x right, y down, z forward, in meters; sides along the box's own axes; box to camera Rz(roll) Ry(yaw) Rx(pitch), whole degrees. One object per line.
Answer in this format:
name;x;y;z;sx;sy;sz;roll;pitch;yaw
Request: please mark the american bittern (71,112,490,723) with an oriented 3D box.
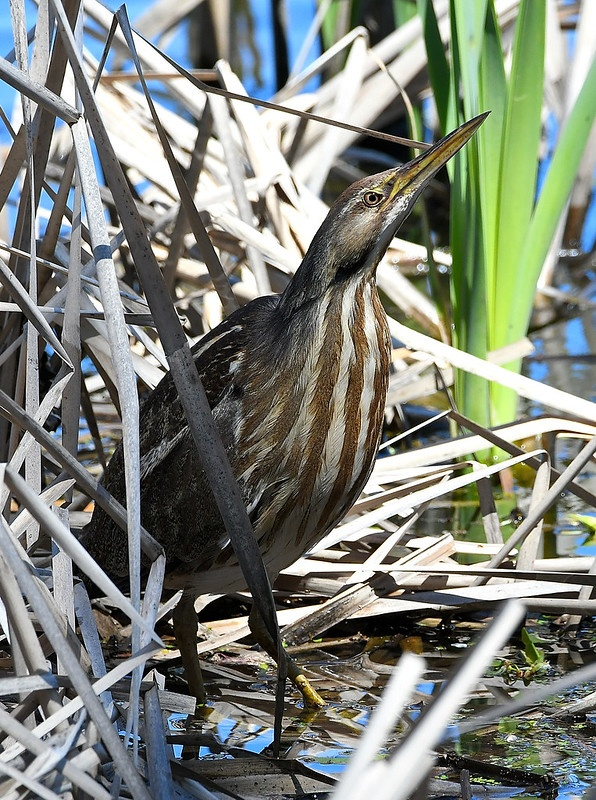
american bittern;-0.058;0.014;1.270;0.526;0.668;0.354;2;22;9
